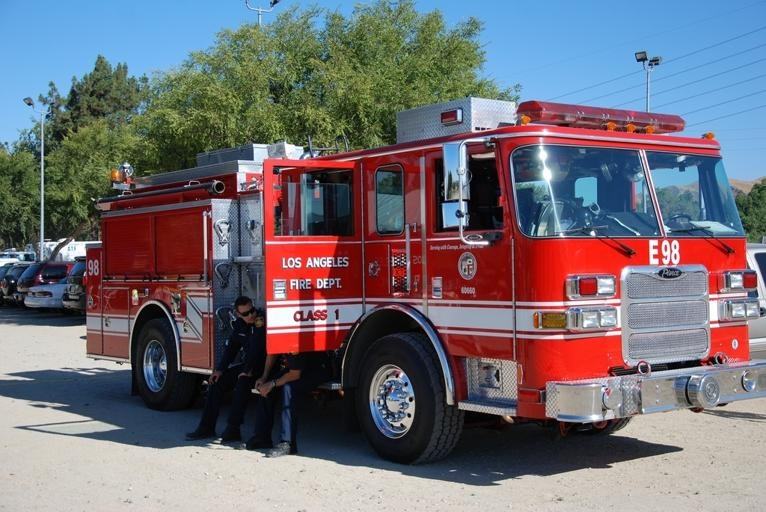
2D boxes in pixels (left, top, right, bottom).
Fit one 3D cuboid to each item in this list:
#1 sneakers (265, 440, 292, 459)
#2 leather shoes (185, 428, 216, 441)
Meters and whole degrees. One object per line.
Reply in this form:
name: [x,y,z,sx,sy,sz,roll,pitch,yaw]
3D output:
sneakers: [-1.318,2.489,9.244,0.135,0.147,0.369,3,-7,43]
leather shoes: [-2.528,2.479,9.989,0.393,0.281,0.154,6,-9,-12]
